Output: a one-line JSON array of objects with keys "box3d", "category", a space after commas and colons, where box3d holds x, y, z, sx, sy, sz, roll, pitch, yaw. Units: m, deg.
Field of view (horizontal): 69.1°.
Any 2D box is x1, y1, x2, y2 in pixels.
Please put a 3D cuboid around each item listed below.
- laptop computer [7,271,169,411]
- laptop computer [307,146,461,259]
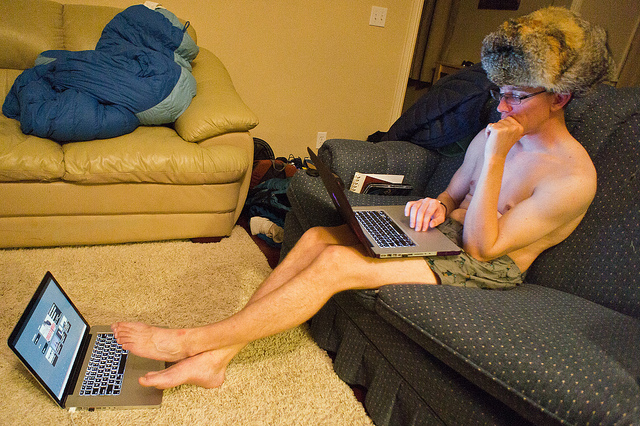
[{"box3d": [-0.857, 0.623, 2.082, 0.637, 0.425, 0.592, -1, 40, -7], "category": "laptop computer"}, {"box3d": [0.285, 0.042, 2.052, 0.344, 0.546, 0.569, -34, 30, -3], "category": "laptop computer"}]
